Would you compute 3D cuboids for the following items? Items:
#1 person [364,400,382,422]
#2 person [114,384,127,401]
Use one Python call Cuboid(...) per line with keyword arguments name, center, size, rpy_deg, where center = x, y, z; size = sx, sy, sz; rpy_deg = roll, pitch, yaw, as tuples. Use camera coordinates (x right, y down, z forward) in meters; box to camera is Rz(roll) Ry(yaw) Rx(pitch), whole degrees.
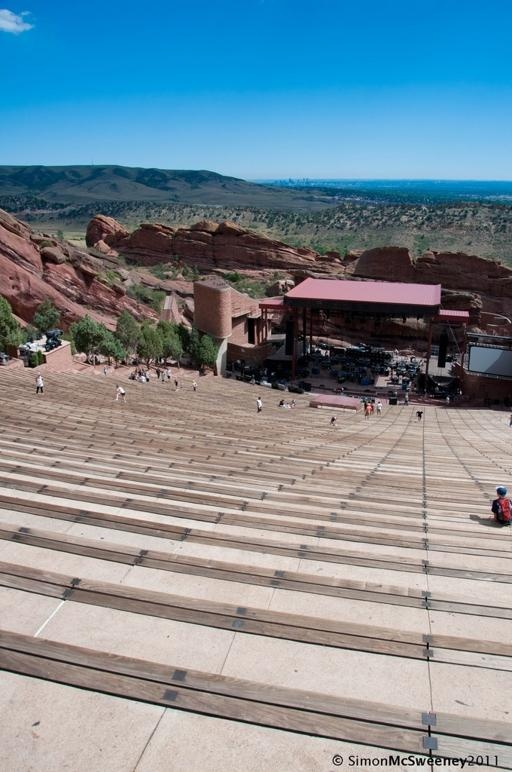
Cuboid(name="person", center=(6.815, 1.385, 30.005), size=(1.091, 0.336, 0.989), rpy_deg=(-6, 22, 9))
Cuboid(name="person", center=(-5.971, 0.295, 22.780), size=(0.337, 0.839, 0.615), rpy_deg=(5, 49, -42))
